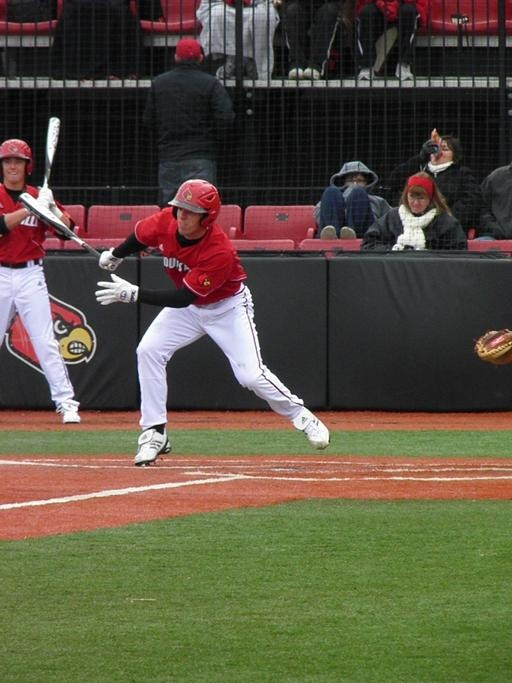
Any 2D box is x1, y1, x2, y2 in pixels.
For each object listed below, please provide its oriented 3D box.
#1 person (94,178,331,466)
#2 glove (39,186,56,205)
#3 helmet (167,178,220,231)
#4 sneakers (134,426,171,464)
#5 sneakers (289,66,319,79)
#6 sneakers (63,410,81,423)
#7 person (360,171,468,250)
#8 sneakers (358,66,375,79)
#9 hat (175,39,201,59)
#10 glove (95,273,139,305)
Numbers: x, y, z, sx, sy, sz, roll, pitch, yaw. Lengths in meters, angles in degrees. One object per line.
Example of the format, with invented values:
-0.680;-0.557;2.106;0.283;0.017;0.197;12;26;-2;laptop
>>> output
-0.266;-0.054;7.901;1.514;1.602;1.097;22;40;29;person
-1.274;-0.881;7.547;0.113;0.109;0.047;4;-4;26;glove
-0.288;-0.660;5.865;0.223;0.228;0.297;3;3;-4;helmet
-0.504;0.505;5.984;0.095;0.123;0.259;-7;9;19;sneakers
0.439;-2.406;11.120;0.194;0.079;0.255;0;-1;7;sneakers
-1.176;0.483;7.867;0.093;0.052;0.139;6;24;-17;sneakers
1.177;-0.930;9.368;0.878;0.591;0.478;3;16;16;person
0.973;-2.389;11.042;0.139;0.061;0.175;1;35;9;sneakers
-0.551;-2.418;10.139;0.152;0.104;0.206;-1;49;-7;hat
-0.782;-0.302;7.036;0.382;0.194;0.116;-2;5;-4;glove
